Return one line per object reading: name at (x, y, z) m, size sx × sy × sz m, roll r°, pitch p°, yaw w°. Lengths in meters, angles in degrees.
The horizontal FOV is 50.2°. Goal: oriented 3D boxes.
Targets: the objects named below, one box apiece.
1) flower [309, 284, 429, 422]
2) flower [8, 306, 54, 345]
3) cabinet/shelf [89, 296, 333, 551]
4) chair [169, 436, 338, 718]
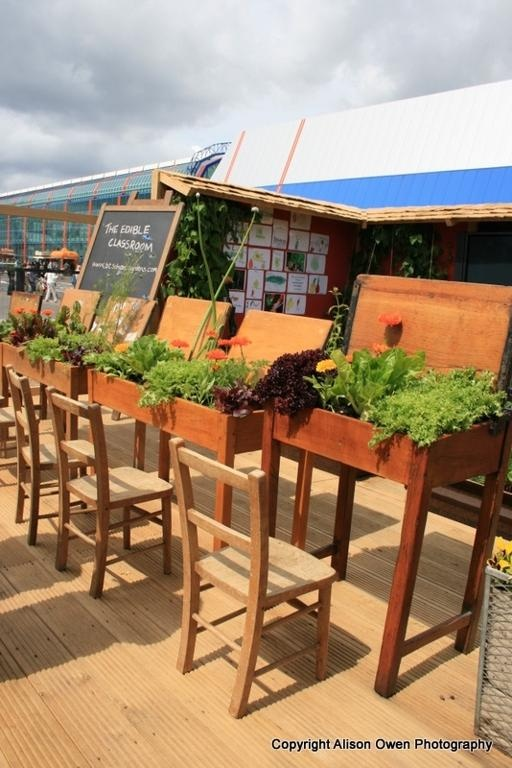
flower at (0.405, -0.088, 2.037) m, size 0.327 × 0.239 × 0.343 m, roll -9°, pitch 18°, yaw 5°
flower at (-1.647, -0.416, 4.037) m, size 0.354 × 0.249 × 0.350 m, roll -4°, pitch 12°, yaw -36°
cabinet/shelf at (-0.240, 0.207, 2.778) m, size 0.655 × 1.147 × 1.464 m, roll -4°, pitch 10°, yaw -38°
chair at (-0.012, 0.742, 2.036) m, size 0.615 × 0.989 × 0.582 m, roll -14°, pitch 22°, yaw -38°
